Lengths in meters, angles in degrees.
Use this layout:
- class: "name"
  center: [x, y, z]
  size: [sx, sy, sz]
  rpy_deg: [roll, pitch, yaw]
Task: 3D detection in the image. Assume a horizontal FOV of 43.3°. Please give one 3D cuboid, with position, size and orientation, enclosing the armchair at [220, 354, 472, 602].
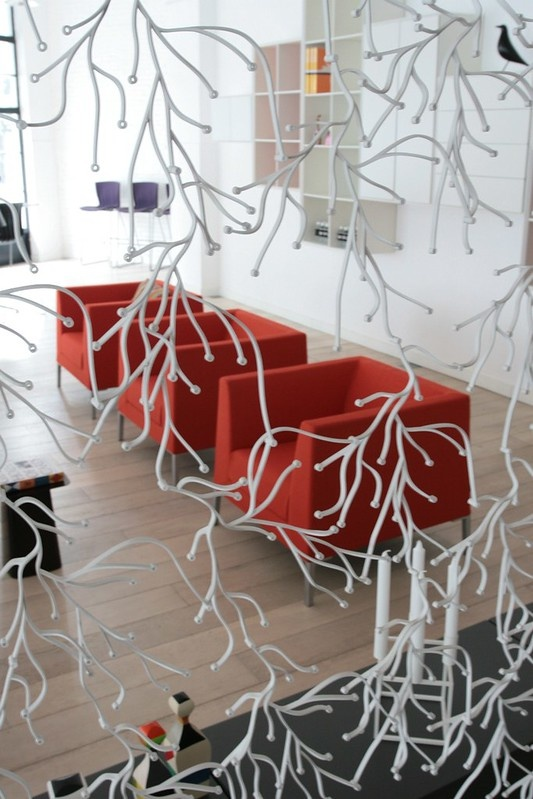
- class: "armchair"
  center: [0.378, 0.259, 3.346]
  size: [1.084, 0.739, 1.069]
  rpy_deg: [-5, 16, -19]

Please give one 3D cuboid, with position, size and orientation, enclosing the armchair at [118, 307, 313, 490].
- class: "armchair"
  center: [-0.366, -0.023, 4.399]
  size: [1.185, 1.204, 1.120]
  rpy_deg: [-10, 24, -29]

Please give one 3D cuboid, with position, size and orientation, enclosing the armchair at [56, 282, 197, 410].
- class: "armchair"
  center: [-1.183, -0.451, 5.456]
  size: [1.012, 0.805, 1.045]
  rpy_deg: [15, 19, 30]

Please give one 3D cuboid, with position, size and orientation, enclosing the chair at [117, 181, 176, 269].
- class: "chair"
  center: [-1.945, -2.699, 10.140]
  size: [0.778, 1.128, 0.756]
  rpy_deg: [-15, 14, 4]
